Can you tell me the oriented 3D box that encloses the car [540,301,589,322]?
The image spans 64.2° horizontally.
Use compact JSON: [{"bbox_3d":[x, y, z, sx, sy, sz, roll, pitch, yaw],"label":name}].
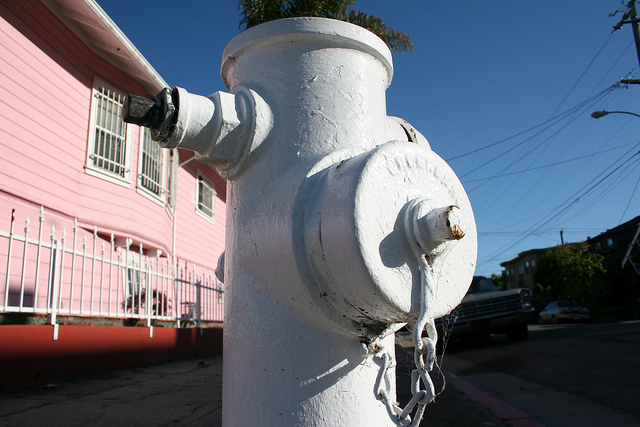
[{"bbox_3d":[12.665,5.077,26.923,0.914,0.766,2.247,-2,-9,6],"label":"car"}]
